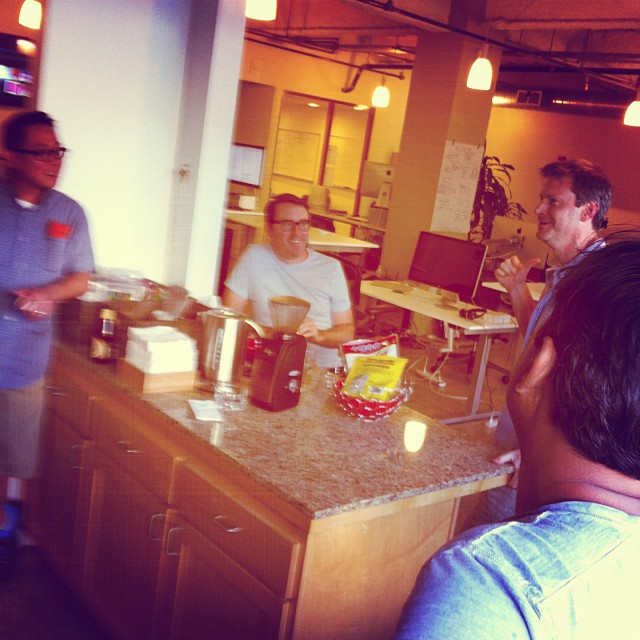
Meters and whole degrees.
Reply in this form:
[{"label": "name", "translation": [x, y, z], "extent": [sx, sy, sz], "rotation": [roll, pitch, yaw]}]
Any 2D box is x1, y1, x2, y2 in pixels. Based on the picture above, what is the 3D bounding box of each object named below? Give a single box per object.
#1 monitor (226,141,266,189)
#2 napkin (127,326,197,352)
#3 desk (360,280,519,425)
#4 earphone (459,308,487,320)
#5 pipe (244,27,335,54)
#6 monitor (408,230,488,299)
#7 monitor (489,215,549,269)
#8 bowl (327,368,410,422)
[{"label": "monitor", "translation": [-0.766, -1.621, 5.896], "extent": [0.332, 0.421, 0.402], "rotation": [9, 13, -5]}, {"label": "napkin", "translation": [-0.349, 0.041, 1.266], "extent": [0.063, 0.064, 0.173], "rotation": [15, 14, 24]}, {"label": "desk", "translation": [0.728, 0.168, 3.361], "extent": [0.574, 0.458, 1.080], "rotation": [1, 17, -29]}, {"label": "earphone", "translation": [0.992, -0.049, 3.670], "extent": [0.100, 0.037, 0.136], "rotation": [9, 9, 36]}, {"label": "pipe", "translation": [-0.442, -3.973, 8.009], "extent": [1.442, 0.169, 0.434], "rotation": [0, 14, -30]}, {"label": "monitor", "translation": [0.789, -0.363, 3.791], "extent": [0.552, 0.399, 0.256], "rotation": [11, 6, -26]}, {"label": "monitor", "translation": [1.984, -0.833, 5.480], "extent": [0.552, 0.310, 0.286], "rotation": [16, 35, 34]}, {"label": "bowl", "translation": [0.112, 0.192, 1.381], "extent": [0.171, 0.059, 0.150], "rotation": [4, 7, 4]}]
